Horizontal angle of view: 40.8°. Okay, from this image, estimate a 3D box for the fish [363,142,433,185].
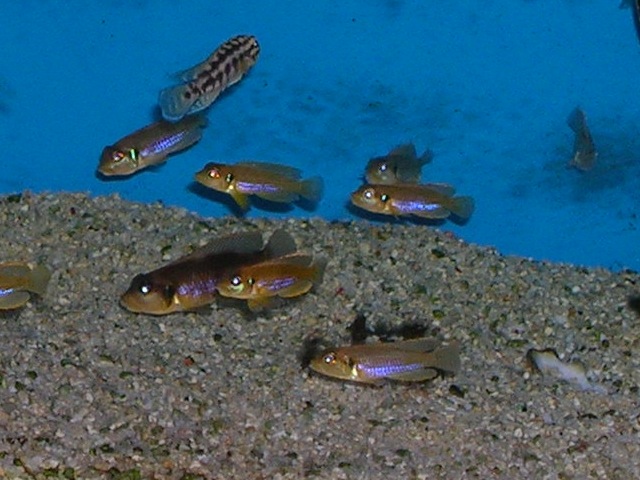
[{"bbox_3d":[0.759,-0.726,8.768,0.594,0.203,0.383,-21,55,-18],"label":"fish"}]

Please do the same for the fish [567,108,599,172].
[{"bbox_3d":[2.771,-1.085,9.117,0.274,0.655,0.294,-14,23,7],"label":"fish"}]
